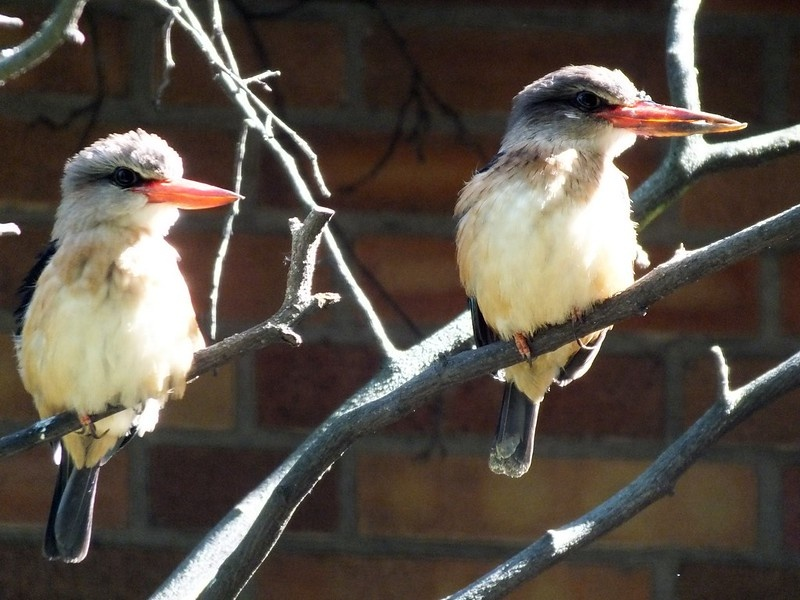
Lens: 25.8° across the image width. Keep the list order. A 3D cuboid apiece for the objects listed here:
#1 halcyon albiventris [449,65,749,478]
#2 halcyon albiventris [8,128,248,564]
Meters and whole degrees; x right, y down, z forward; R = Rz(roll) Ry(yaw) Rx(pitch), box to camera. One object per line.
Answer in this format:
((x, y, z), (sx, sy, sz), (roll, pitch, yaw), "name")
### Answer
((0.527, -0.273, 5.423), (0.646, 0.900, 0.527), (2, 9, -15), "halcyon albiventris")
((-0.877, 0.154, 5.359), (0.593, 1.339, 0.504), (3, 9, -13), "halcyon albiventris")
